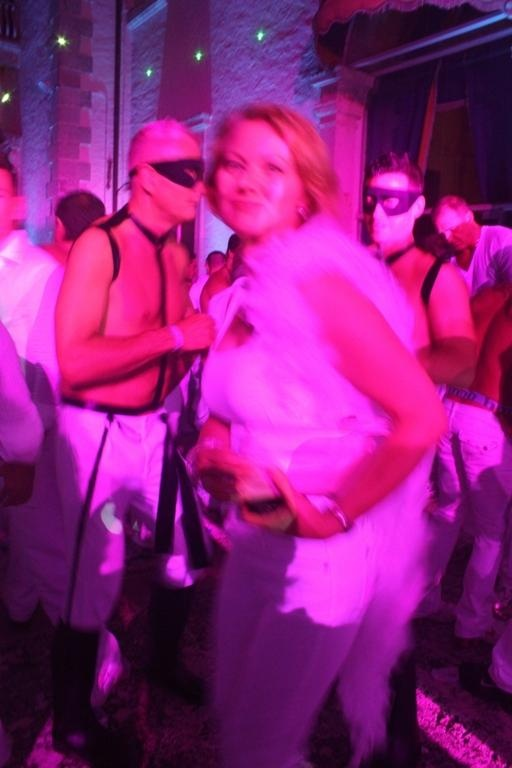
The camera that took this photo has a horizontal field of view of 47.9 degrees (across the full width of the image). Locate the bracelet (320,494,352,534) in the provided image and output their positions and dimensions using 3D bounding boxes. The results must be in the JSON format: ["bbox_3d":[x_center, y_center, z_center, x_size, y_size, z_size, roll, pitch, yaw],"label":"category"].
[{"bbox_3d":[0.123,0.196,0.885,0.060,0.015,0.017,52,-26,-3],"label":"bracelet"}]

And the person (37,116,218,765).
[{"bbox_3d":[-0.336,0.145,1.562,0.320,1.633,0.430,17,16,34],"label":"person"}]
